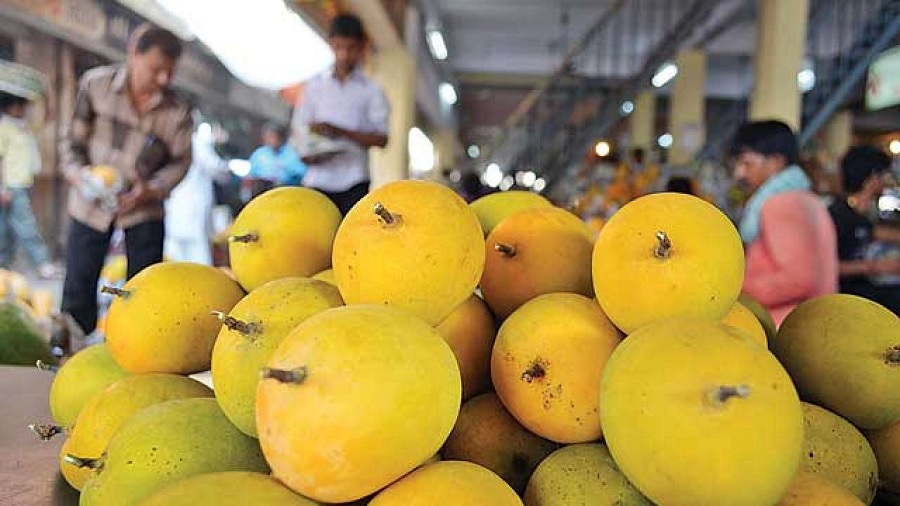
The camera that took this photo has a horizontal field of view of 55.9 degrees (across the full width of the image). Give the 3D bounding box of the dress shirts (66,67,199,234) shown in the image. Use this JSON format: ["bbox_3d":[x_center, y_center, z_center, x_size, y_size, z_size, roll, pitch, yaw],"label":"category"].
[{"bbox_3d":[-2.039,-0.682,5.354,0.741,0.920,0.499,18,23,-36],"label":"dress shirts"}]

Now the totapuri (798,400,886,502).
[{"bbox_3d":[1.752,0.928,4.013,0.476,0.277,0.267,40,-17,13],"label":"totapuri"}]
